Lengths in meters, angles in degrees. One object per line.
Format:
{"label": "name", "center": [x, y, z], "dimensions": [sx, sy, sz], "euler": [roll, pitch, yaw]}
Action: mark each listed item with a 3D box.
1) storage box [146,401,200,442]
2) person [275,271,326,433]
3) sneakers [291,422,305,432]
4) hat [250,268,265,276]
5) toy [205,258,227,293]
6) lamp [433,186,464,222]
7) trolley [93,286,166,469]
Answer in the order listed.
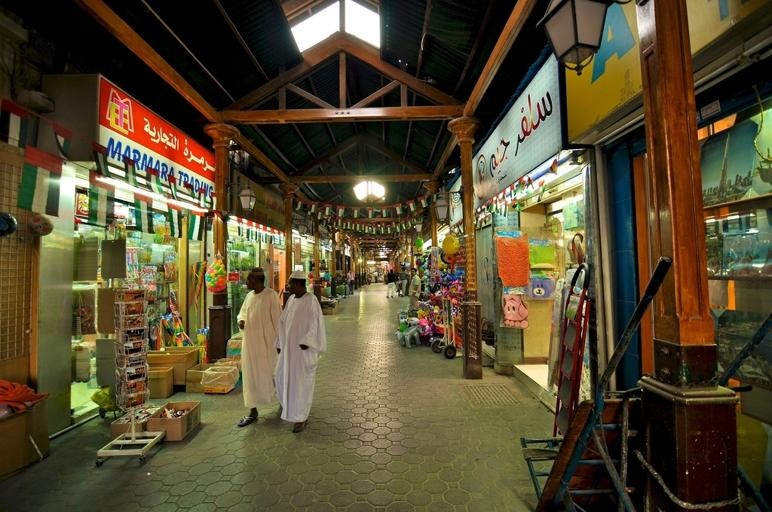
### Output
{"label": "storage box", "center": [-2.549, 2.040, 6.609], "dimensions": [0.305, 0.204, 0.517], "euler": [0, 2, -4]}
{"label": "person", "center": [-1.158, 1.193, 6.802], "dimensions": [0.705, 1.876, 0.895], "euler": [4, 15, 19]}
{"label": "sneakers", "center": [-1.066, 2.100, 6.565], "dimensions": [0.172, 0.089, 0.141], "euler": [-5, 15, -17]}
{"label": "hat", "center": [-1.734, 0.210, 7.142], "dimensions": [0.120, 0.073, 0.124], "euler": [-2, -3, 31]}
{"label": "toy", "center": [-2.696, 0.308, 8.490], "dimensions": [0.319, 0.575, 0.368], "euler": [-5, 15, -17]}
{"label": "lamp", "center": [1.317, -1.008, 11.333], "dimensions": [0.511, 0.909, 1.752], "euler": [1, 15, 5]}
{"label": "trolley", "center": [-3.011, 1.498, 6.400], "dimensions": [0.779, 1.635, 0.717], "euler": [1, 3, -40]}
